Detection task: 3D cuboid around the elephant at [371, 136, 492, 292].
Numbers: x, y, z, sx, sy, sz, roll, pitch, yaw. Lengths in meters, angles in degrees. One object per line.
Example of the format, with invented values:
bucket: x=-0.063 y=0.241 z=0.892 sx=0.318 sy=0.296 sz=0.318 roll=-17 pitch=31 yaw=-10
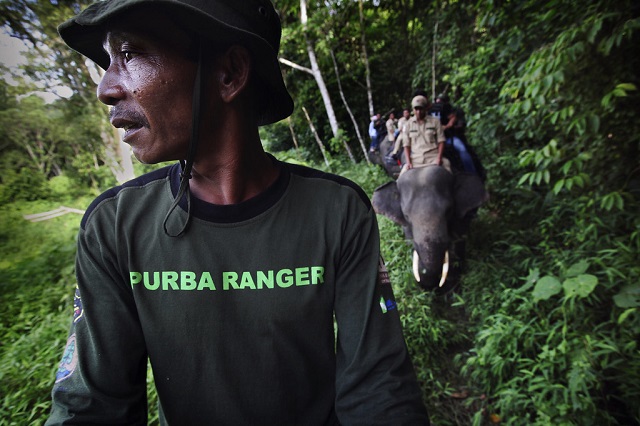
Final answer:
elephant: x=1.213 y=-0.010 z=5.310 sx=1.009 sy=1.050 sz=1.702 roll=1 pitch=17 yaw=11
